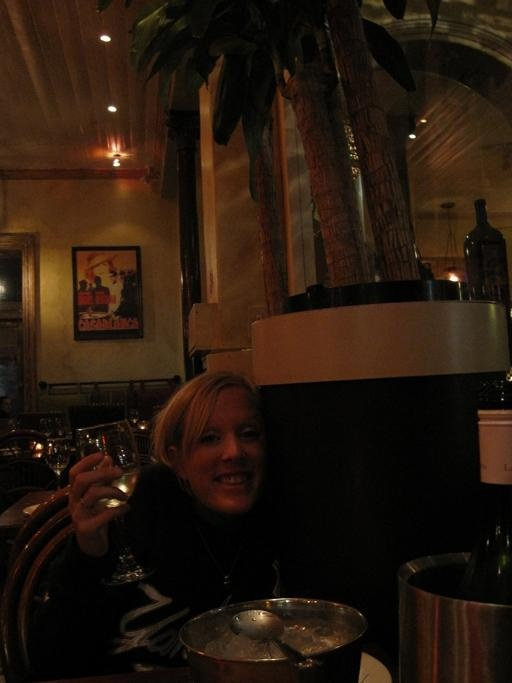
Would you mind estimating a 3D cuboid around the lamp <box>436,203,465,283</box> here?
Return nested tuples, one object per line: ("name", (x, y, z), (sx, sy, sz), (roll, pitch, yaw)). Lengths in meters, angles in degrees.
("lamp", (0.709, -0.375, 2.214), (0.073, 0.333, 0.181), (-5, -5, 20))

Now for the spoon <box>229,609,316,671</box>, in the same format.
("spoon", (0.004, 0.179, 0.372), (0.031, 0.013, 0.067), (-3, -6, -15))
